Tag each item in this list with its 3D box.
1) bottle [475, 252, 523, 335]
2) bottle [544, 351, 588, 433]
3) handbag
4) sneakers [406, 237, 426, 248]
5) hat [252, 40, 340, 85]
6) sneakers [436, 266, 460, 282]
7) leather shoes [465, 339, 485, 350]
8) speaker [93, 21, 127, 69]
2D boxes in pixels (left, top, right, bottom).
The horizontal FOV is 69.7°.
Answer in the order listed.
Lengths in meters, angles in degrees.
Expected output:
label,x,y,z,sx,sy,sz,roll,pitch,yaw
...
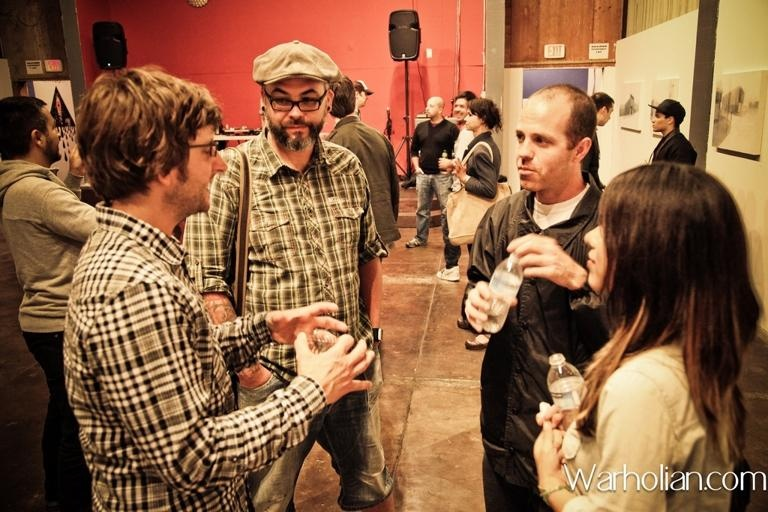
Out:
label,x,y,z,sx,sy,sz,roll,pitch,yaw
bottle,0.504,0.162,2.320,0.144,0.354,0.226,6,16,39
bottle,0.672,0.535,2.088,0.114,0.317,0.112,-8,2,0
handbag,0.882,-0.479,5.202,0.694,0.721,0.275,-17,50,-9
sneakers,0.461,-0.205,8.097,0.303,0.131,0.131,1,6,-18
hat,-0.420,-0.925,2.582,0.422,0.178,0.464,18,27,25
sneakers,0.790,0.208,6.729,0.131,0.147,0.323,0,5,-31
leather shoes,0.830,0.802,5.010,0.148,0.050,0.078,3,1,-12
speaker,-5.869,-4.568,11.845,0.768,1.101,0.565,8,17,44
